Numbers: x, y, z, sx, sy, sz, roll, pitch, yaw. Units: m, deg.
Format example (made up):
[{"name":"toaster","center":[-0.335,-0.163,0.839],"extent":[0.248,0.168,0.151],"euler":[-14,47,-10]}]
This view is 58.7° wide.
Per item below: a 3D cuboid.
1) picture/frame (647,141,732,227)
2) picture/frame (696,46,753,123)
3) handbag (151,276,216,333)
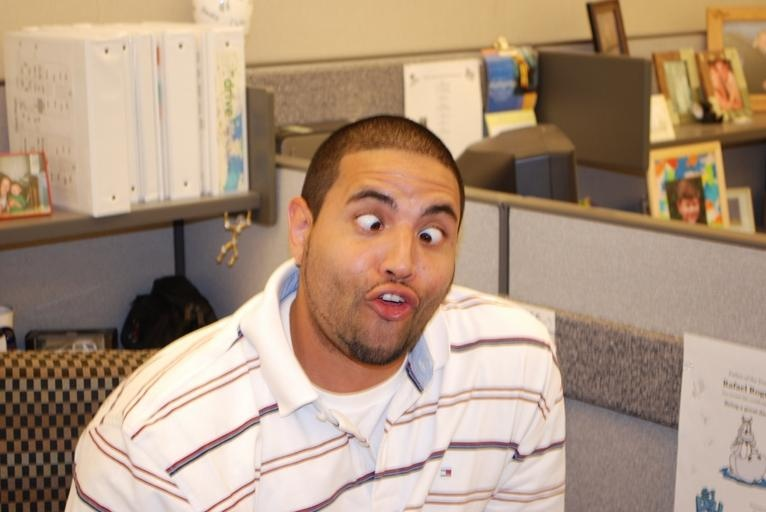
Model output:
[{"name":"picture/frame","center":[0.947,-0.195,2.127],"extent":[0.265,0.280,0.025],"euler":[-3,-1,-13]},{"name":"picture/frame","center":[1.557,-0.789,3.221],"extent":[0.279,0.378,0.109],"euler":[-9,0,-32]},{"name":"handbag","center":[-0.632,0.124,2.154],"extent":[0.133,0.060,0.243],"euler":[-2,24,-28]}]
